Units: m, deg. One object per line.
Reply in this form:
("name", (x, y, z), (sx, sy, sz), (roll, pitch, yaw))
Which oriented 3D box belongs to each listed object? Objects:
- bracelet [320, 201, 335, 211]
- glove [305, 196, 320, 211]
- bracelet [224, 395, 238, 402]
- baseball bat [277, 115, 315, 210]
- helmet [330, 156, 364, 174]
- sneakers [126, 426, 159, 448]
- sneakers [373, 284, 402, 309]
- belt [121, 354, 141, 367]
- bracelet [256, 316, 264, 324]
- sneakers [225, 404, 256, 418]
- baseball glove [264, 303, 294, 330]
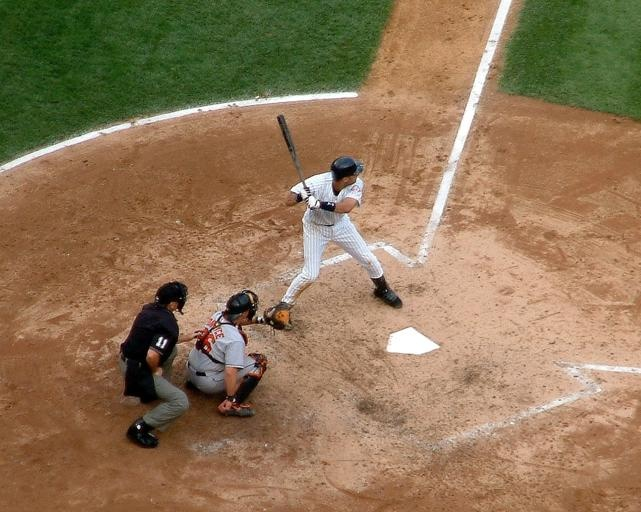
("bracelet", (0.099, -0.660, 9.199), (0.203, 0.214, 0.144), (-7, 74, 2))
("glove", (-0.105, -0.692, 9.147), (0.183, 0.073, 0.174), (6, 37, -9))
("bracelet", (-1.098, 1.718, 8.422), (0.124, 0.113, 0.069), (1, 74, 4))
("baseball bat", (-0.396, -1.431, 10.018), (0.142, 1.401, 0.166), (26, 60, 33))
("helmet", (0.356, -1.174, 9.166), (0.455, 0.169, 0.195), (-10, 60, 1))
("sneakers", (-2.094, 2.114, 8.124), (0.285, 0.234, 0.109), (22, 67, -5))
("sneakers", (0.975, 0.584, 10.023), (0.457, 0.178, 0.211), (40, 87, 19))
("belt", (-2.195, 1.201, 8.022), (0.207, 0.152, 0.053), (20, 75, -33))
("bracelet", (-0.780, 0.814, 8.859), (0.110, 0.102, 0.036), (6, 103, 5))
("sneakers", (-1.055, 1.887, 8.470), (0.511, 0.123, 0.119), (-1, 30, -8))
("baseball glove", (-0.451, 0.838, 9.375), (0.384, 0.130, 0.420), (-49, 38, -10))
